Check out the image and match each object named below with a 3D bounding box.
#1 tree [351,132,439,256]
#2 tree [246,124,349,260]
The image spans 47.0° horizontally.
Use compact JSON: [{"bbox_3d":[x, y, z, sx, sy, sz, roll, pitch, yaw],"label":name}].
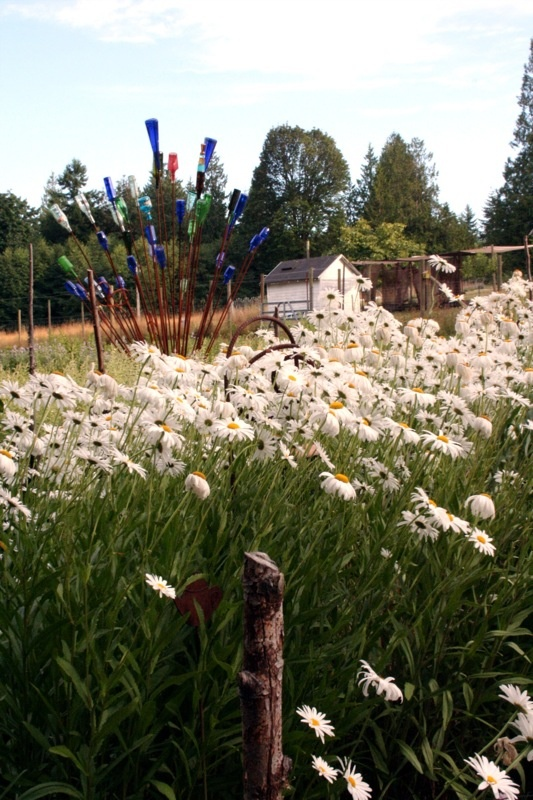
[{"bbox_3d":[13.187,-21.322,61.317,7.390,12.067,10.423,3,10,13],"label":"tree"},{"bbox_3d":[2.238,-17.140,49.682,7.455,11.646,9.616,3,10,14],"label":"tree"}]
